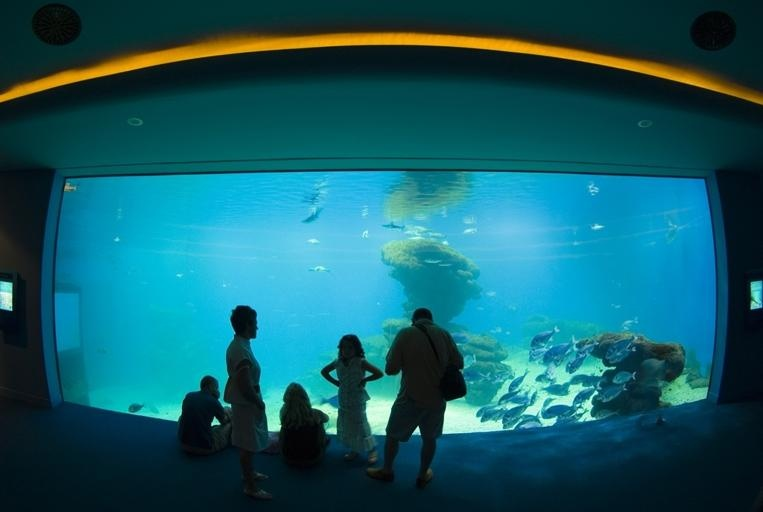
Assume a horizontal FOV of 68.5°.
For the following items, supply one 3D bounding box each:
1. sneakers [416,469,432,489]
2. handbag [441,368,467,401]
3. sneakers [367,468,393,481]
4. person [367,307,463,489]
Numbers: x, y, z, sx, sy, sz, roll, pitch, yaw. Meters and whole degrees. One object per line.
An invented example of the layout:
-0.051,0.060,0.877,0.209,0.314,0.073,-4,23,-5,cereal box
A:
0.948,4.834,12.131,0.248,0.161,0.453,3,12,22,sneakers
1.535,2.711,11.904,0.513,0.714,0.302,-1,-2,5,handbag
-0.031,4.763,12.180,0.502,0.165,0.237,6,-4,14,sneakers
0.828,3.062,12.035,1.648,3.804,0.454,0,-2,-3,person
